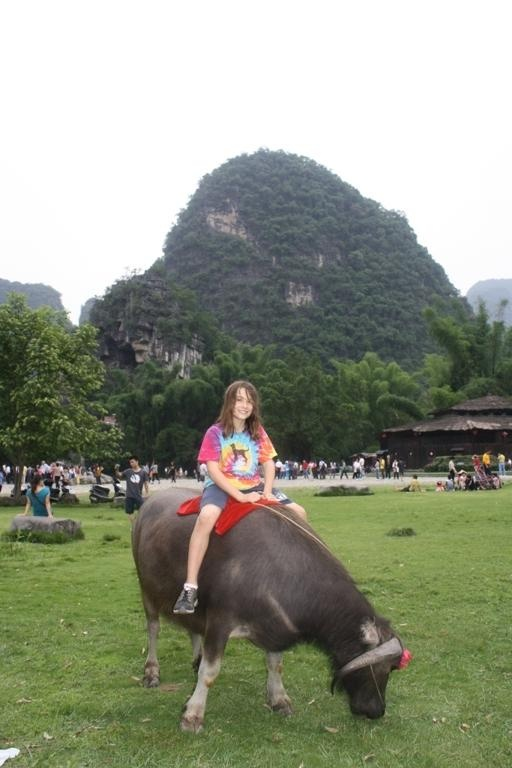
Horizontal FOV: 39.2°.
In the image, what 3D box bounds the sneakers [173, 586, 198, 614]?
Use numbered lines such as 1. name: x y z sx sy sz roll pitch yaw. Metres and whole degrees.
1. sneakers: -0.383 1.210 4.007 0.080 0.112 0.241 0 -18 5
